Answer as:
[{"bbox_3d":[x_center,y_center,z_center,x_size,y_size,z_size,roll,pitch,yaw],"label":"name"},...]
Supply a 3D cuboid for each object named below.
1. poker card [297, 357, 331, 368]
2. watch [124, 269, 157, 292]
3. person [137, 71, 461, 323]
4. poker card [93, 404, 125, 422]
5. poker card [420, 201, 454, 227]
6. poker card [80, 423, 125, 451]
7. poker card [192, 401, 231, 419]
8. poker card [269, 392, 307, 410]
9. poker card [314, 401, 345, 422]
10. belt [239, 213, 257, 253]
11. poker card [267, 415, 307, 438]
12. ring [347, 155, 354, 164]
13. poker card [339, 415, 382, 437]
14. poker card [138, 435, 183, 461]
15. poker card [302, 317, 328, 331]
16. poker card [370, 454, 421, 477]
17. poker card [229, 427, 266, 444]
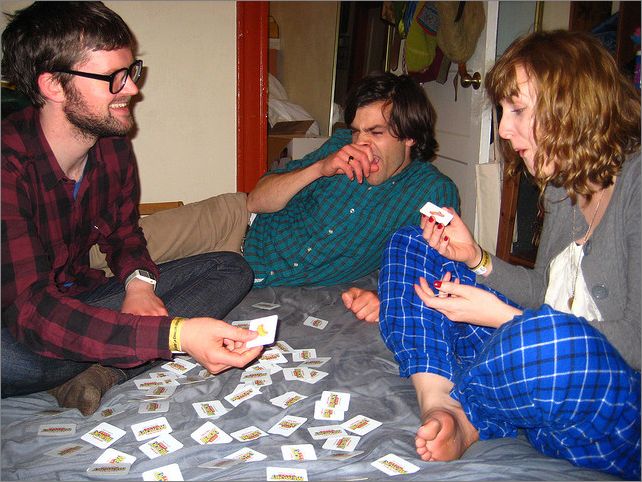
[{"bbox_3d":[-0.031,0.514,1.963,0.058,0.008,0.061,5,19,40],"label":"poker card"},{"bbox_3d":[-0.791,0.155,2.021,0.120,0.071,0.112,32,-29,-30],"label":"watch"},{"bbox_3d":[0.054,-0.182,2.615,1.810,1.057,1.182,-10,42,-21],"label":"person"},{"bbox_3d":[-0.781,0.622,1.688,0.113,0.012,0.073,-3,17,-13],"label":"poker card"},{"bbox_3d":[0.485,-0.116,1.944,0.120,0.028,0.085,33,54,30],"label":"poker card"},{"bbox_3d":[-0.754,0.665,1.581,0.119,0.020,0.096,10,19,29],"label":"poker card"},{"bbox_3d":[-0.411,0.618,1.700,0.104,0.015,0.113,-8,18,-29],"label":"poker card"},{"bbox_3d":[-0.128,0.602,1.756,0.124,0.011,0.074,-10,20,-34],"label":"poker card"},{"bbox_3d":[0.031,0.626,1.693,0.110,0.022,0.075,3,16,7],"label":"poker card"},{"bbox_3d":[-0.447,-0.055,2.757,0.121,0.209,0.051,15,-7,-15],"label":"belt"},{"bbox_3d":[-0.123,0.652,1.625,0.066,0.011,0.111,9,15,20],"label":"poker card"},{"bbox_3d":[0.156,-0.431,2.441,0.016,0.031,0.035,31,30,-37],"label":"ring"},{"bbox_3d":[0.143,0.649,1.627,0.124,0.020,0.086,-10,20,-34],"label":"poker card"},{"bbox_3d":[-0.537,0.682,1.532,0.109,0.013,0.102,13,20,37],"label":"poker card"},{"bbox_3d":[-0.030,0.401,2.255,0.077,0.008,0.057,8,26,22],"label":"poker card"},{"bbox_3d":[0.235,0.703,1.439,0.120,0.009,0.100,16,22,42],"label":"poker card"},{"bbox_3d":[-0.253,0.665,1.592,0.119,0.010,0.072,-6,17,-22],"label":"poker card"}]
